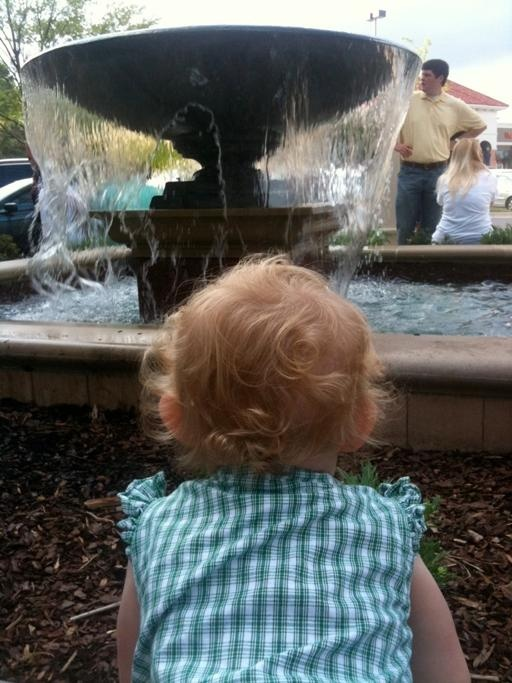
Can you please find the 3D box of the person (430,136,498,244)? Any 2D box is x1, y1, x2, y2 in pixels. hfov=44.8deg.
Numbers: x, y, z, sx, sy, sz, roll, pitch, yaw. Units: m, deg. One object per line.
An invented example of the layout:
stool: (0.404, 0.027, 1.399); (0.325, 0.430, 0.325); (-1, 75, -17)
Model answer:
person: (2.161, -1.512, 6.401); (0.610, 1.072, 0.517); (1, 15, 17)
